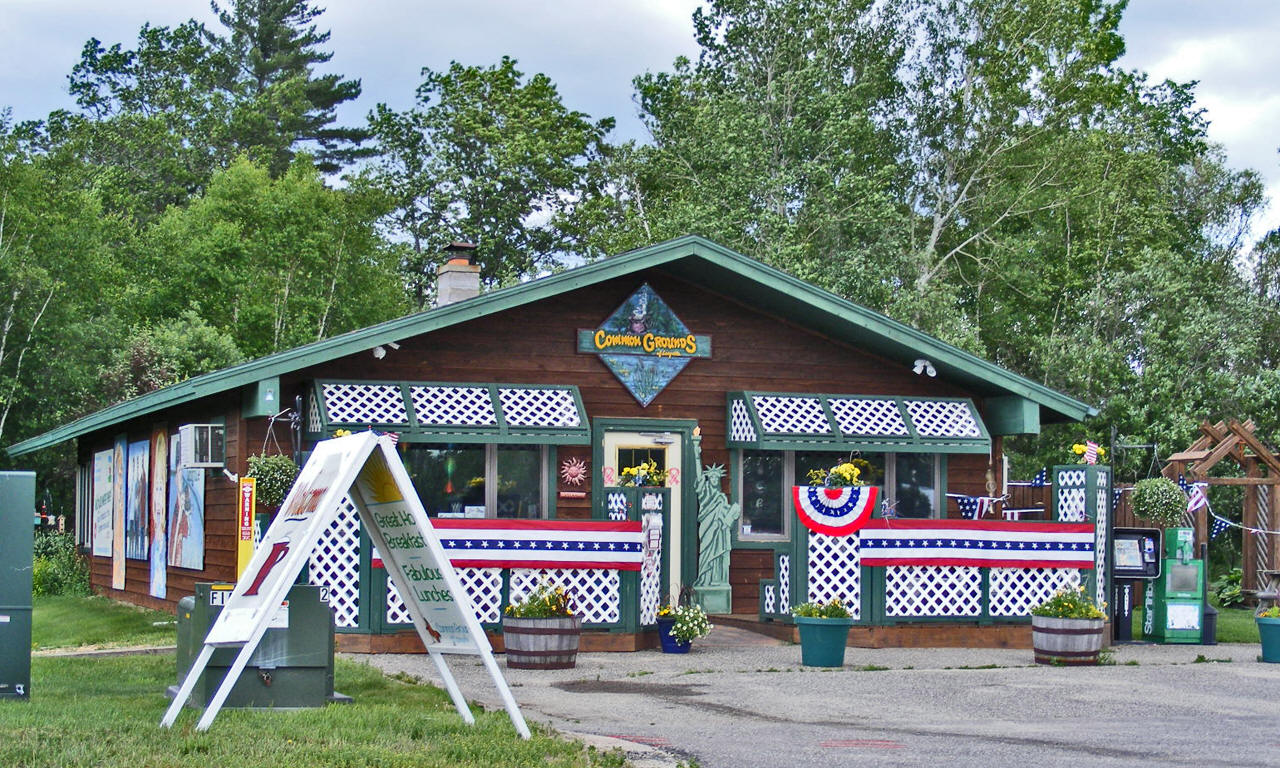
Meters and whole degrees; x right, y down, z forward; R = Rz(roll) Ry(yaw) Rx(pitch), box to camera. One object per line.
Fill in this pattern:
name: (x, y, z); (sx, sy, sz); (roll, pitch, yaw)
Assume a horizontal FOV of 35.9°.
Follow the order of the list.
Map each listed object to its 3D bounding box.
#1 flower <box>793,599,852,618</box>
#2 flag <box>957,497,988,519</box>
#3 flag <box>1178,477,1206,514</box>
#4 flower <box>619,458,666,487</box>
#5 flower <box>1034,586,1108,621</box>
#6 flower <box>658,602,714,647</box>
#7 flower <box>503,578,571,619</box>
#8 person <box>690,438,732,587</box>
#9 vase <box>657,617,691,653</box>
flower: (4.360, 5.451, 47.204); (0.711, 0.320, 0.645); (0, 0, -20)
flag: (8.834, 3.279, 52.343); (0.636, 0.603, 0.649); (0, -3, 19)
flag: (14.594, 2.966, 52.034); (0.524, 0.976, 2.117); (-2, -10, 23)
flower: (0.009, 2.315, 50.492); (0.745, 0.410, 0.789); (-3, -6, 39)
flower: (10.579, 5.434, 48.034); (0.979, 0.548, 1.008); (0, 1, 20)
flower: (0.954, 5.935, 48.490); (1.072, 0.767, 1.008); (2, -7, -10)
flower: (-2.341, 5.134, 46.578); (1.064, 0.588, 0.962); (-1, -3, -30)
person: (1.916, 3.353, 51.243); (1.093, 3.884, 0.886); (3, -9, -6)
vase: (0.831, 6.188, 48.371); (0.809, 0.672, 0.860); (-1, -9, 13)
